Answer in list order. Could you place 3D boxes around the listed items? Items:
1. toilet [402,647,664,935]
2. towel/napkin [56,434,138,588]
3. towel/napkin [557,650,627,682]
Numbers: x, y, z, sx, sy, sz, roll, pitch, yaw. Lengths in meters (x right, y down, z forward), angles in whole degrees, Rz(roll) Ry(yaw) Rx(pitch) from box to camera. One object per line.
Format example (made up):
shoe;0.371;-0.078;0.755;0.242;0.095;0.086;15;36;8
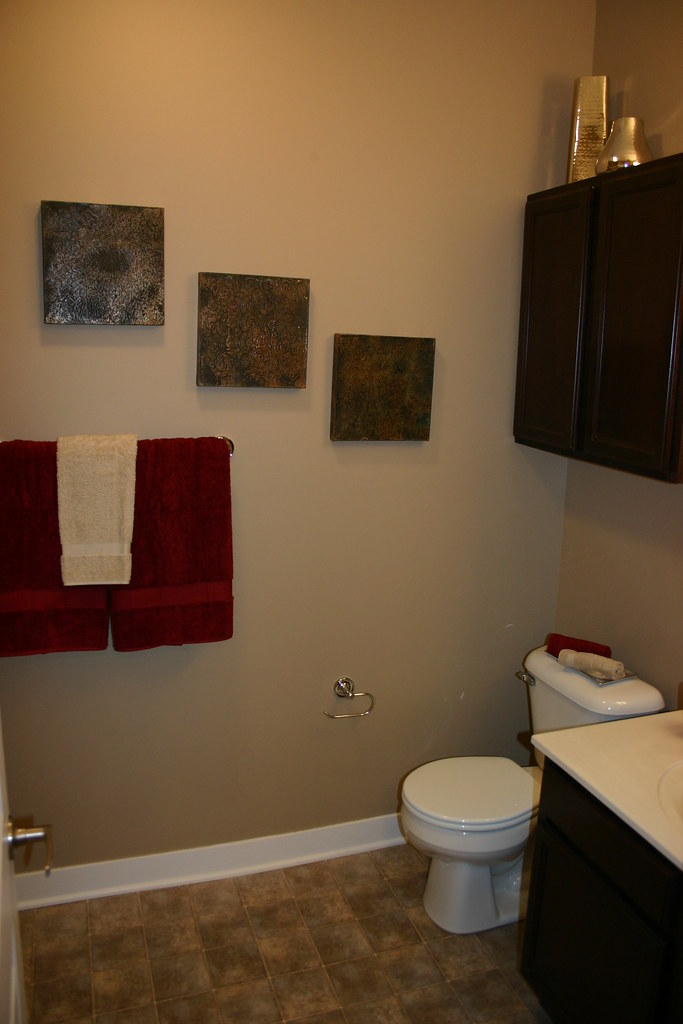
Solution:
toilet;0.463;0.752;2.106;0.575;0.702;0.467;-4;18;-7
towel/napkin;-0.585;-0.010;1.852;0.177;0.403;0.050;-4;28;-25
towel/napkin;0.643;0.392;2.027;0.194;0.055;0.096;9;10;44
